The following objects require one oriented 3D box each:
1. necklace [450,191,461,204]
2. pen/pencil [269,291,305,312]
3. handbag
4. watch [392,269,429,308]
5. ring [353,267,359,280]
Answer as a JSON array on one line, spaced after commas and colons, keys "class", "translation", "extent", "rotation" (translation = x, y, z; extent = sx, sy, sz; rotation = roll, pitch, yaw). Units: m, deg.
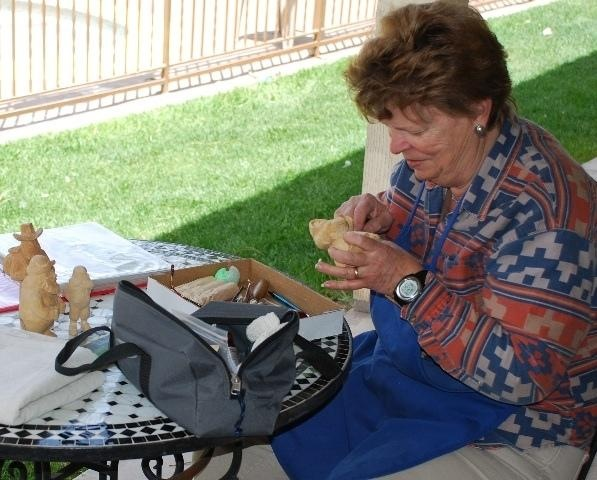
[{"class": "necklace", "translation": [0.502, -0.135, 1.876], "extent": [0.048, 0.027, 0.064], "rotation": [2, 12, 18]}, {"class": "pen/pencil", "translation": [-0.033, 0.189, 1.816], "extent": [0.100, 0.013, 0.012], "rotation": [34, 32, 24]}, {"class": "handbag", "translation": [-0.209, 0.172, 1.399], "extent": [0.464, 0.160, 0.449], "rotation": [17, 5, -43]}, {"class": "watch", "translation": [0.305, 0.132, 1.654], "extent": [0.113, 0.069, 0.111], "rotation": [-40, -7, 3]}, {"class": "ring", "translation": [0.155, 0.090, 1.587], "extent": [0.025, 0.021, 0.023], "rotation": [0, 59, 1]}]
